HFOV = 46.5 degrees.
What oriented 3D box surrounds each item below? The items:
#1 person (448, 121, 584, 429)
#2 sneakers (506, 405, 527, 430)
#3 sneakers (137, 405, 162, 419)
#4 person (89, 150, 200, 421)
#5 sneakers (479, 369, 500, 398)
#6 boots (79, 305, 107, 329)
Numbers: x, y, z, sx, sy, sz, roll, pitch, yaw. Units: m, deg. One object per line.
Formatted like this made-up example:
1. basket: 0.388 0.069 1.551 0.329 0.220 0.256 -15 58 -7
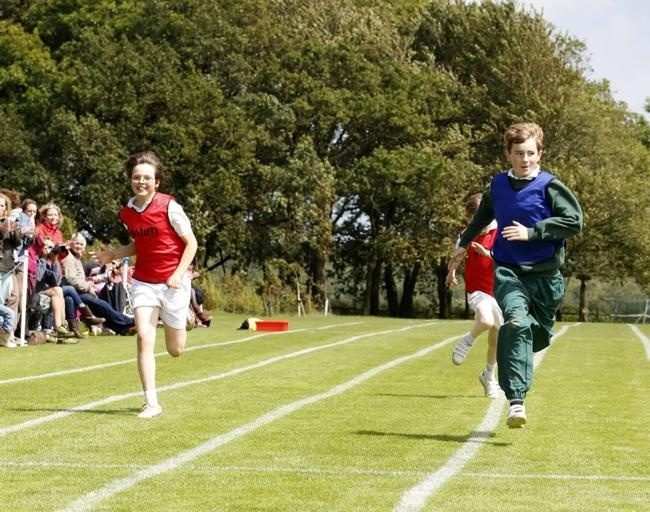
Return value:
1. person: 1.920 0.174 7.097 0.762 2.828 1.225 0 -6 -2
2. sneakers: 1.645 1.373 6.471 0.152 0.210 0.259 -2 -6 13
3. sneakers: -1.758 1.567 7.548 0.089 0.105 0.253 -4 -7 40
4. person: -1.915 0.302 7.892 1.049 2.771 1.132 1 -9 -23
5. sneakers: 1.979 1.525 8.983 0.164 0.424 0.169 -23 12 -27
6. boots: -4.688 1.206 15.207 0.453 0.469 0.213 -18 31 14
